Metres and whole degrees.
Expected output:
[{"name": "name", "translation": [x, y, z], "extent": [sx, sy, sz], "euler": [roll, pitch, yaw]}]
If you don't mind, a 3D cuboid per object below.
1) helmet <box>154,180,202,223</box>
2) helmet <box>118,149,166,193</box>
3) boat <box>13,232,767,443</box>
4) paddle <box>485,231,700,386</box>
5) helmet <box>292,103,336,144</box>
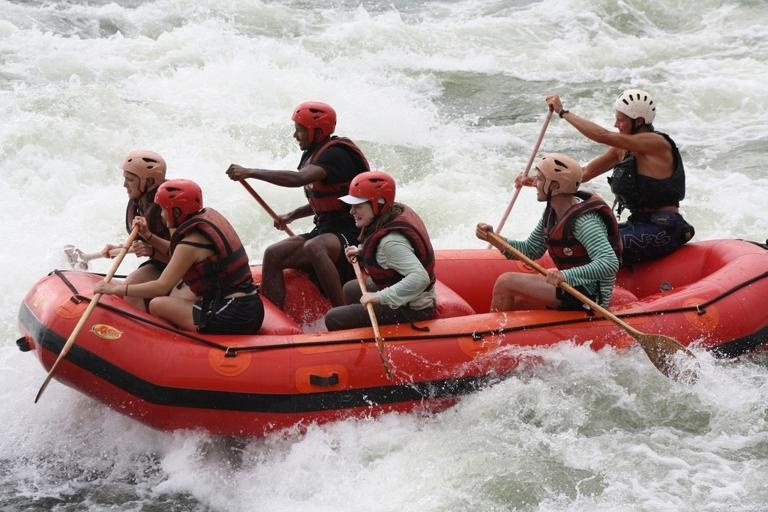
[{"name": "helmet", "translation": [-1.988, -0.540, 8.292], "extent": [0.525, 0.420, 0.368], "euler": [11, 20, -7]}, {"name": "helmet", "translation": [-2.420, -0.881, 8.687], "extent": [0.520, 0.409, 0.361], "euler": [13, 7, -17]}, {"name": "boat", "translation": [0.381, 0.930, 8.639], "extent": [6.721, 0.994, 2.873], "euler": [-2, 16, -14]}, {"name": "paddle", "translation": [2.164, 0.591, 8.741], "extent": [2.788, 0.198, 0.492], "euler": [36, 37, -3]}, {"name": "helmet", "translation": [-0.718, -1.481, 9.271], "extent": [0.550, 0.436, 0.379], "euler": [14, 17, -9]}]
